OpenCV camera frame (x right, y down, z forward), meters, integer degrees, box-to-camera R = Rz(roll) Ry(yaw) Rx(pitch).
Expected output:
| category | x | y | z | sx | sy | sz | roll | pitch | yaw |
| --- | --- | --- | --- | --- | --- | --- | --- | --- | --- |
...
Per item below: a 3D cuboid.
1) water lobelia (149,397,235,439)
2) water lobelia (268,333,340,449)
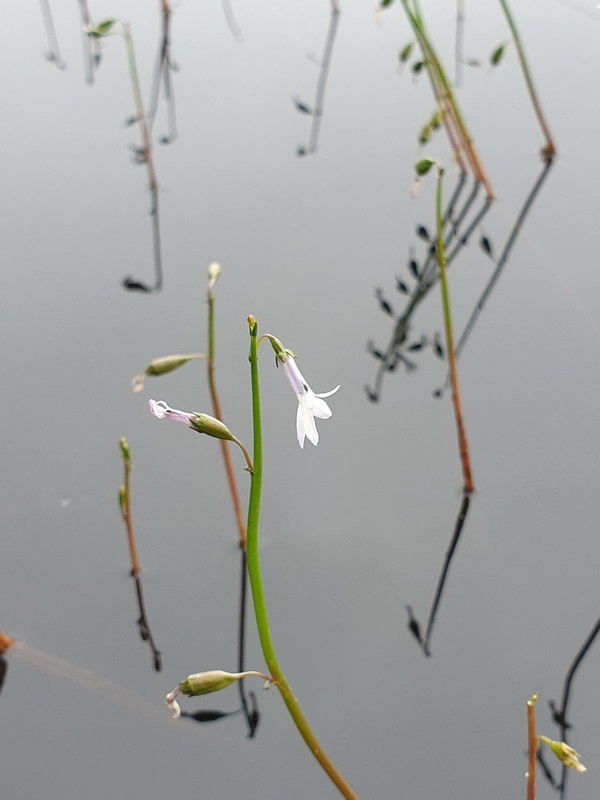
| category | x | y | z | sx | sy | sz | roll | pitch | yaw |
| --- | --- | --- | --- | --- | --- | --- | --- | --- | --- |
| water lobelia | -0.115 | 0.020 | 1.112 | 0.081 | 0.025 | 0.017 | 24 | 7 | 4 |
| water lobelia | 0.002 | -0.009 | 1.064 | 0.071 | 0.062 | 0.116 | 16 | 49 | -64 |
